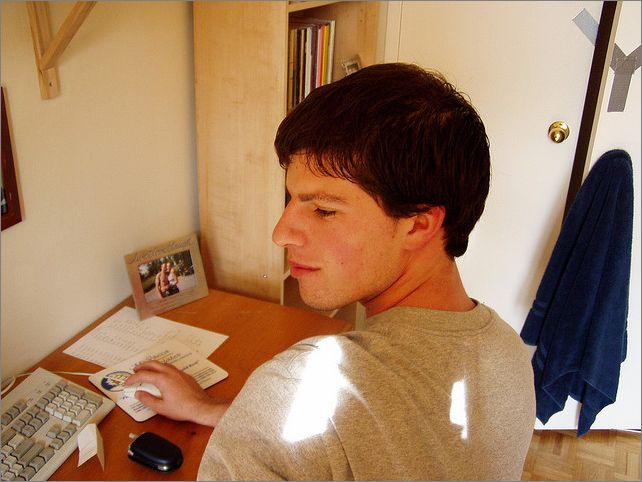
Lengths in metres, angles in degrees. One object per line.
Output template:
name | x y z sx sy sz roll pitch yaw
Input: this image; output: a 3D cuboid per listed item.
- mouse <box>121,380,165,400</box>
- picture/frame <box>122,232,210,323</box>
mouse | -0.478 0.394 1.333 0.092 0.025 0.051 16 17 12
picture/frame | -0.538 0.135 1.715 0.255 0.215 0.017 -16 7 -40
